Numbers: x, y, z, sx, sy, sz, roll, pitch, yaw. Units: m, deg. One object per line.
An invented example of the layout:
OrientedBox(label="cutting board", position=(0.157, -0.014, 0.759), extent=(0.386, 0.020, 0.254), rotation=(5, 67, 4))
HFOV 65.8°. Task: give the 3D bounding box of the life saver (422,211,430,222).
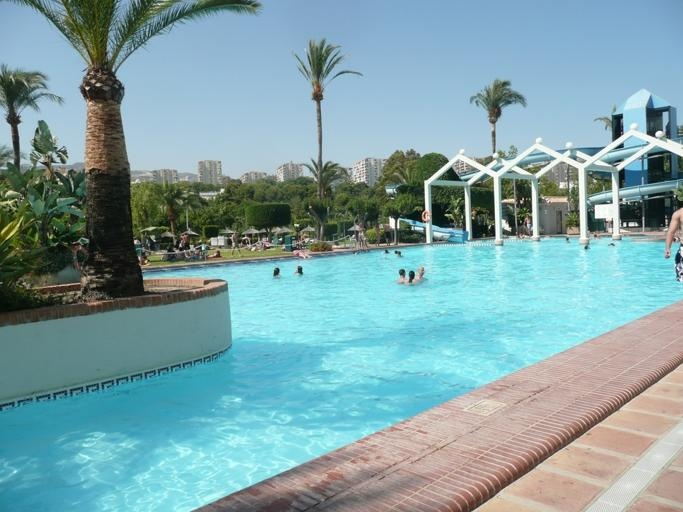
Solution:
OrientedBox(label="life saver", position=(5.966, -2.821, 36.855), extent=(0.276, 0.798, 0.559), rotation=(-2, 0, -12))

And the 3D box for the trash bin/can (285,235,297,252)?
OrientedBox(label="trash bin/can", position=(-3.345, -0.841, 34.857), extent=(0.585, 1.280, 1.320), rotation=(-1, 0, 20))

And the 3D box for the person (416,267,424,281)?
OrientedBox(label="person", position=(2.694, 0.577, 18.148), extent=(0.256, 0.512, 0.828), rotation=(-1, 10, 8))
